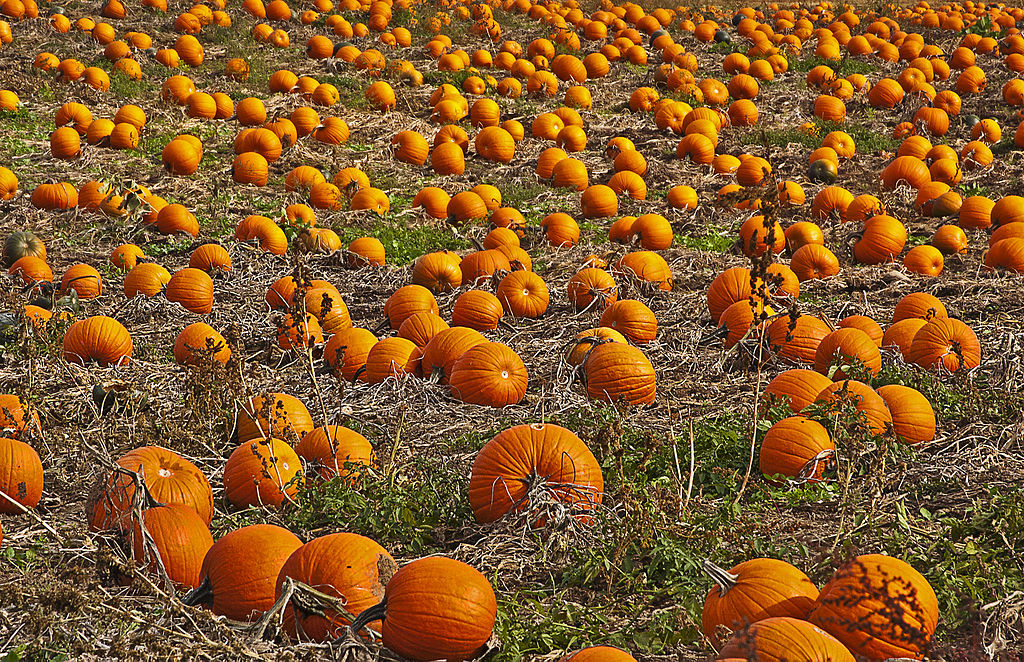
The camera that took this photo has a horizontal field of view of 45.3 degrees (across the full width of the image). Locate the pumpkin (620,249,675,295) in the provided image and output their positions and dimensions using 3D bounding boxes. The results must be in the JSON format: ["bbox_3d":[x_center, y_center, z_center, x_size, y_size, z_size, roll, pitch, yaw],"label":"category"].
[{"bbox_3d":[1.735,-0.831,15.771,0.510,0.525,0.495,3,44,-29],"label":"pumpkin"}]

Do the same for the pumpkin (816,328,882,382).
[{"bbox_3d":[3.922,0.233,13.882,0.579,0.479,0.590,3,3,-14],"label":"pumpkin"}]

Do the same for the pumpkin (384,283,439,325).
[{"bbox_3d":[-1.253,-0.320,15.011,0.555,0.505,0.514,-12,52,-7],"label":"pumpkin"}]

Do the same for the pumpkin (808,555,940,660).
[{"bbox_3d":[3.217,2.392,10.719,0.758,0.856,0.984,25,-14,-19],"label":"pumpkin"}]

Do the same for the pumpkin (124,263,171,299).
[{"bbox_3d":[-4.632,-0.624,15.563,0.412,0.461,0.448,28,3,-15],"label":"pumpkin"}]

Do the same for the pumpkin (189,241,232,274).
[{"bbox_3d":[-3.948,-0.960,15.940,0.367,0.367,0.381,0,-3,-6],"label":"pumpkin"}]

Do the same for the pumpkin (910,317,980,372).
[{"bbox_3d":[5.011,0.059,13.976,0.479,0.504,0.472,-22,43,22],"label":"pumpkin"}]

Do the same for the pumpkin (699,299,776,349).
[{"bbox_3d":[2.596,-0.065,14.602,0.545,0.606,0.335,26,23,34],"label":"pumpkin"}]

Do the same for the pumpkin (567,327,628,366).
[{"bbox_3d":[0.941,0.136,14.047,0.486,0.460,0.479,-14,-15,-42],"label":"pumpkin"}]

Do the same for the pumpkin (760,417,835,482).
[{"bbox_3d":[2.845,1.175,12.426,0.597,0.601,0.675,-29,31,-31],"label":"pumpkin"}]

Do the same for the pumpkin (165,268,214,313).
[{"bbox_3d":[-4.023,-0.455,15.430,0.467,0.542,0.525,-2,-21,2],"label":"pumpkin"}]

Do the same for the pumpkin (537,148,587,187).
[{"bbox_3d":[0.754,-2.496,18.889,0.780,0.633,0.625,-4,52,6],"label":"pumpkin"}]

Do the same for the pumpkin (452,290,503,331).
[{"bbox_3d":[-0.447,-0.172,15.006,0.540,0.503,0.485,14,-24,1],"label":"pumpkin"}]

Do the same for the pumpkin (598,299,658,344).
[{"bbox_3d":[1.366,-0.230,14.866,0.510,0.590,0.588,-24,31,-4],"label":"pumpkin"}]

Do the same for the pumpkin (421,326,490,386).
[{"bbox_3d":[-0.635,0.308,14.160,0.601,0.612,0.626,-18,13,19],"label":"pumpkin"}]

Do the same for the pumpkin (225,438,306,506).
[{"bbox_3d":[-2.521,1.573,12.448,0.827,0.768,0.686,-6,-1,-10],"label":"pumpkin"}]

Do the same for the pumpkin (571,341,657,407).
[{"bbox_3d":[1.182,0.494,13.565,0.593,0.688,0.666,-13,-18,-1],"label":"pumpkin"}]

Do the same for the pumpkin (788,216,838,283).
[{"bbox_3d":[3.970,-1.040,16.229,0.621,0.587,0.880,11,19,-4],"label":"pumpkin"}]

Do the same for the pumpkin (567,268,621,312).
[{"bbox_3d":[1.025,-0.565,15.636,0.568,0.570,0.607,-3,-8,-10],"label":"pumpkin"}]

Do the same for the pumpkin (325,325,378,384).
[{"bbox_3d":[-1.927,0.204,13.995,0.509,0.576,0.577,24,40,9],"label":"pumpkin"}]

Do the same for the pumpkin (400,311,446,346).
[{"bbox_3d":[-1.075,-0.016,14.504,0.405,0.418,0.405,4,7,-32],"label":"pumpkin"}]

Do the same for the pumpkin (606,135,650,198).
[{"bbox_3d":[1.778,-2.518,18.865,0.426,0.496,1.184,-16,15,12],"label":"pumpkin"}]

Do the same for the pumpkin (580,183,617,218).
[{"bbox_3d":[1.295,-1.851,17.826,0.427,0.443,0.471,-18,37,39],"label":"pumpkin"}]

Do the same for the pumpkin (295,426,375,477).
[{"bbox_3d":[-1.809,1.242,12.416,0.532,0.599,0.587,-28,-4,13],"label":"pumpkin"}]

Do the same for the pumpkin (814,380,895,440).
[{"bbox_3d":[3.541,0.721,12.843,0.707,0.530,0.727,-6,2,39],"label":"pumpkin"}]

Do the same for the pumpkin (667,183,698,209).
[{"bbox_3d":[2.499,-1.974,18.007,0.331,0.336,0.348,6,-31,24],"label":"pumpkin"}]

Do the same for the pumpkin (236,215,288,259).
[{"bbox_3d":[-3.403,-1.338,16.634,0.546,0.511,0.544,55,9,27],"label":"pumpkin"}]

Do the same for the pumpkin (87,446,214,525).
[{"bbox_3d":[-3.384,1.612,12.256,0.652,0.558,0.666,-4,27,-15],"label":"pumpkin"}]

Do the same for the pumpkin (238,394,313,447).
[{"bbox_3d":[-2.477,0.948,12.958,0.604,0.604,0.637,-2,16,10],"label":"pumpkin"}]

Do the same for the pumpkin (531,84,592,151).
[{"bbox_3d":[0.889,-3.580,20.438,0.651,0.530,1.495,19,24,-1],"label":"pumpkin"}]

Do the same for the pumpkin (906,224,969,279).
[{"bbox_3d":[5.626,-1.103,16.315,0.466,0.514,1.133,6,25,40],"label":"pumpkin"}]

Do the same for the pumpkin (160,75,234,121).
[{"bbox_3d":[-5.171,-3.849,20.246,1.218,0.479,0.677,21,21,21],"label":"pumpkin"}]

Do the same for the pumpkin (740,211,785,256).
[{"bbox_3d":[3.269,-1.185,15.842,0.472,0.598,0.486,-3,0,-22],"label":"pumpkin"}]

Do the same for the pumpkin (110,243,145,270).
[{"bbox_3d":[-5.079,-0.969,16.114,0.314,0.315,0.327,-8,-16,-2],"label":"pumpkin"}]

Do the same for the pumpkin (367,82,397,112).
[{"bbox_3d":[-2.263,-4.042,20.950,0.522,0.428,0.353,13,18,0],"label":"pumpkin"}]

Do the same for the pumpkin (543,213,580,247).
[{"bbox_3d":[0.679,-1.383,17.109,0.408,0.469,0.447,-12,5,-23],"label":"pumpkin"}]

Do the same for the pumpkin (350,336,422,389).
[{"bbox_3d":[-1.393,0.353,14.027,0.617,0.565,0.540,2,-9,10],"label":"pumpkin"}]

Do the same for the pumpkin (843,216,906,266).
[{"bbox_3d":[4.943,-1.197,16.493,0.602,0.640,0.379,18,19,16],"label":"pumpkin"}]

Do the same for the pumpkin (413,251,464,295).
[{"bbox_3d":[-0.884,-0.867,15.760,0.416,0.384,0.428,1,3,-38],"label":"pumpkin"}]

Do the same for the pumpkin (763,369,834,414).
[{"bbox_3d":[3.059,0.616,13.137,0.470,0.486,0.490,7,45,-16],"label":"pumpkin"}]

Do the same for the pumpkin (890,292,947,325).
[{"bbox_3d":[4.813,-0.275,14.546,0.402,0.423,0.391,-30,-21,30],"label":"pumpkin"}]

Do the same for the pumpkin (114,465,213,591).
[{"bbox_3d":[-3.277,1.904,11.554,0.828,0.963,0.716,14,18,5],"label":"pumpkin"}]

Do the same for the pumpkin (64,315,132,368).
[{"bbox_3d":[-4.903,0.028,14.506,0.593,0.526,0.610,17,4,-3],"label":"pumpkin"}]

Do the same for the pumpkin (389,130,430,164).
[{"bbox_3d":[-1.598,-2.888,19.321,0.448,0.498,0.512,-20,35,48],"label":"pumpkin"}]

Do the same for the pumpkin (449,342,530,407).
[{"bbox_3d":[-0.263,0.511,13.716,0.718,0.723,0.677,3,-1,-39],"label":"pumpkin"}]

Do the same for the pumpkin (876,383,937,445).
[{"bbox_3d":[4.175,0.852,12.910,0.489,0.555,0.547,-27,12,19],"label":"pumpkin"}]

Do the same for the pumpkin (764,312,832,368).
[{"bbox_3d":[3.283,0.087,13.918,0.711,0.535,0.734,4,14,7],"label":"pumpkin"}]

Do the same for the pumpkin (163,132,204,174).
[{"bbox_3d":[-4.961,-2.660,18.456,0.578,0.493,0.492,2,21,-30],"label":"pumpkin"}]

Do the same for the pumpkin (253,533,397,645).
[{"bbox_3d":[-1.736,2.316,11.321,0.930,0.946,0.846,-39,18,-28],"label":"pumpkin"}]

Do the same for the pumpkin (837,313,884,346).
[{"bbox_3d":[4.068,0.000,14.312,0.342,0.381,0.356,4,-7,-40],"label":"pumpkin"}]

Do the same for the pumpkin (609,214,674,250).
[{"bbox_3d":[1.746,-1.431,16.986,0.879,0.578,0.651,-10,14,-15],"label":"pumpkin"}]
